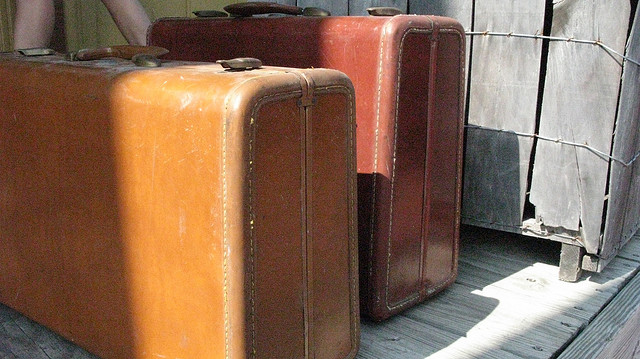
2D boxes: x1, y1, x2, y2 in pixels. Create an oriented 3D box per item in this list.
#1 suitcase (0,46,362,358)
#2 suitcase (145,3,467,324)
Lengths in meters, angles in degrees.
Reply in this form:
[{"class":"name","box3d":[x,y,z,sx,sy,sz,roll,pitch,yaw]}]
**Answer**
[{"class":"suitcase","box3d":[-0.498,0.104,2.129,1.107,0.787,0.408,9,13,39]},{"class":"suitcase","box3d":[-0.029,-0.035,2.242,1.255,1.193,0.505,6,13,34]}]
